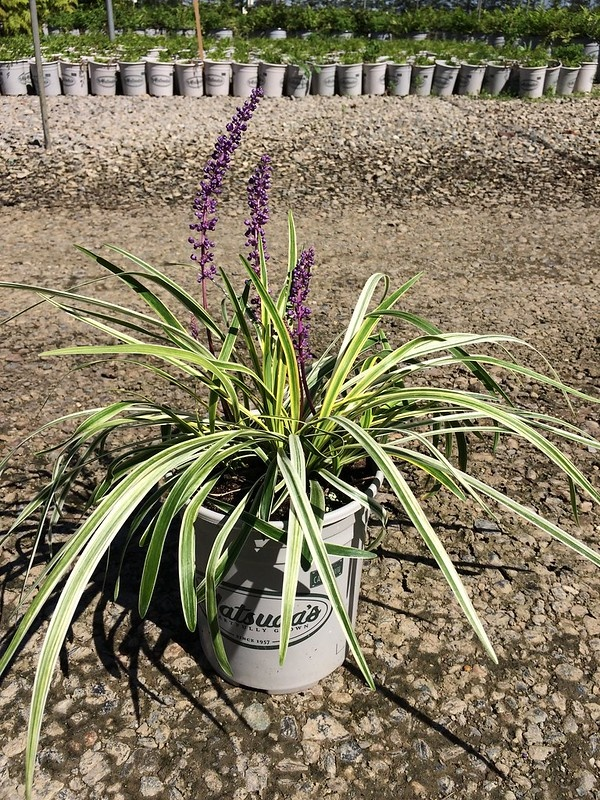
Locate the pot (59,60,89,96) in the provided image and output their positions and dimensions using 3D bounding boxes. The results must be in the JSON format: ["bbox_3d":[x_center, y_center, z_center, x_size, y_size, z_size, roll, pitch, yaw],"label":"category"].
[{"bbox_3d":[-2.035,-2.879,5.592,0.238,0.270,0.290,-4,34,-16],"label":"pot"}]

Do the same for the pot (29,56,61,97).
[{"bbox_3d":[-2.243,-2.860,5.533,0.243,0.269,0.458,-10,36,-25],"label":"pot"}]

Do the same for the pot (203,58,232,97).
[{"bbox_3d":[-0.751,-2.907,5.625,0.300,0.277,0.272,-3,42,-7],"label":"pot"}]

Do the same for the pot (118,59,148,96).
[{"bbox_3d":[-1.535,-2.919,5.640,0.256,0.280,0.215,6,33,-2],"label":"pot"}]

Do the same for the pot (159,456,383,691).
[{"bbox_3d":[-0.024,0.362,1.221,0.385,0.363,0.340,-4,4,-3],"label":"pot"}]

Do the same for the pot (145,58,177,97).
[{"bbox_3d":[-1.251,-2.902,5.635,0.328,0.263,0.310,2,37,-2],"label":"pot"}]

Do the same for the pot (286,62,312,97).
[{"bbox_3d":[-0.015,-2.916,5.684,0.229,0.268,0.240,5,33,-3],"label":"pot"}]

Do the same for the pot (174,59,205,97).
[{"bbox_3d":[-0.990,-2.872,5.589,0.330,0.264,0.313,1,34,0],"label":"pot"}]
